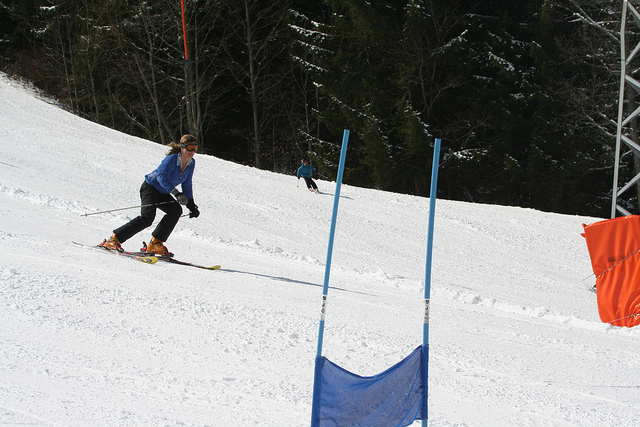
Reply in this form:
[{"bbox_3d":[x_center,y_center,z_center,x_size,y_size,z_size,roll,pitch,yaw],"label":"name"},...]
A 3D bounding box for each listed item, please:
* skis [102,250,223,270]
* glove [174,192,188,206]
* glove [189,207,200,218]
[{"bbox_3d":[-4.150,1.256,19.656,1.860,0.265,0.106,10,38,-12],"label":"skis"},{"bbox_3d":[-3.535,-0.379,19.512,0.300,0.292,0.236,-19,28,-15],"label":"glove"},{"bbox_3d":[-3.280,-0.006,19.897,0.232,0.263,0.418,12,1,-11],"label":"glove"}]
